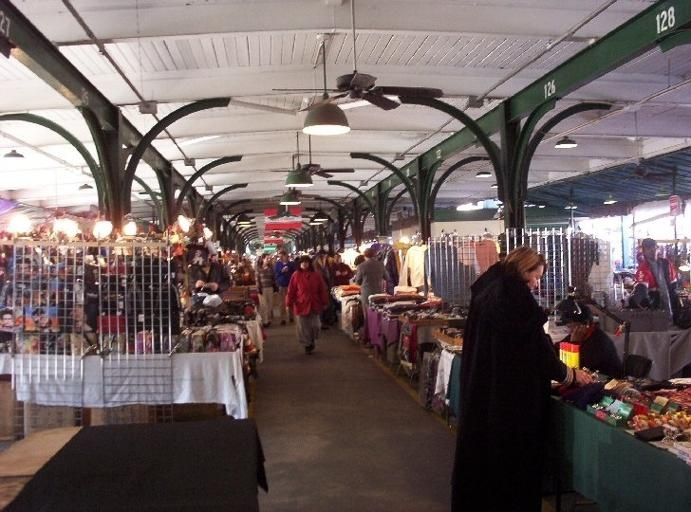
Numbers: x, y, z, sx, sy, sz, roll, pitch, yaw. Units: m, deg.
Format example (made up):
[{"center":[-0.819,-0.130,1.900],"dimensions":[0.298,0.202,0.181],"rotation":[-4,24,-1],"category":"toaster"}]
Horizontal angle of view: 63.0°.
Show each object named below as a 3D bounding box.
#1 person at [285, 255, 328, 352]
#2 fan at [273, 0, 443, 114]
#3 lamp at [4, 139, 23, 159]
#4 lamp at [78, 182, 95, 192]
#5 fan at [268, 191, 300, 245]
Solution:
[{"center":[-0.691,0.847,9.940],"dimensions":[0.734,1.736,0.528],"rotation":[-2,2,-6],"category":"person"},{"center":[0.182,-1.809,6.532],"dimensions":[1.750,1.566,1.729],"rotation":[-2,0,-18],"category":"fan"},{"center":[-6.287,-1.991,10.607],"dimensions":[0.367,0.172,0.361],"rotation":[0,1,-34],"category":"lamp"},{"center":[-6.750,-1.801,14.652],"dimensions":[0.249,0.104,0.248],"rotation":[-1,-2,11],"category":"lamp"},{"center":[-2.023,-1.235,17.090],"dimensions":[1.456,1.289,2.546],"rotation":[-1,-3,-3],"category":"fan"}]
